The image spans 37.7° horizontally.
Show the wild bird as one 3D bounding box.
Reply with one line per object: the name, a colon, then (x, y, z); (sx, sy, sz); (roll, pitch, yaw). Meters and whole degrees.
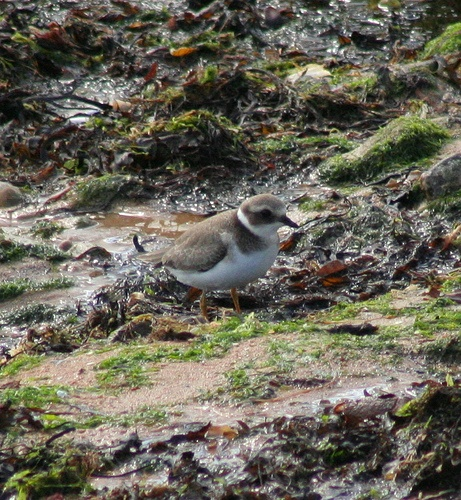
wild bird: (-0.110, 0.072, 5.761); (1.739, 0.919, 0.808); (2, 9, 37)
